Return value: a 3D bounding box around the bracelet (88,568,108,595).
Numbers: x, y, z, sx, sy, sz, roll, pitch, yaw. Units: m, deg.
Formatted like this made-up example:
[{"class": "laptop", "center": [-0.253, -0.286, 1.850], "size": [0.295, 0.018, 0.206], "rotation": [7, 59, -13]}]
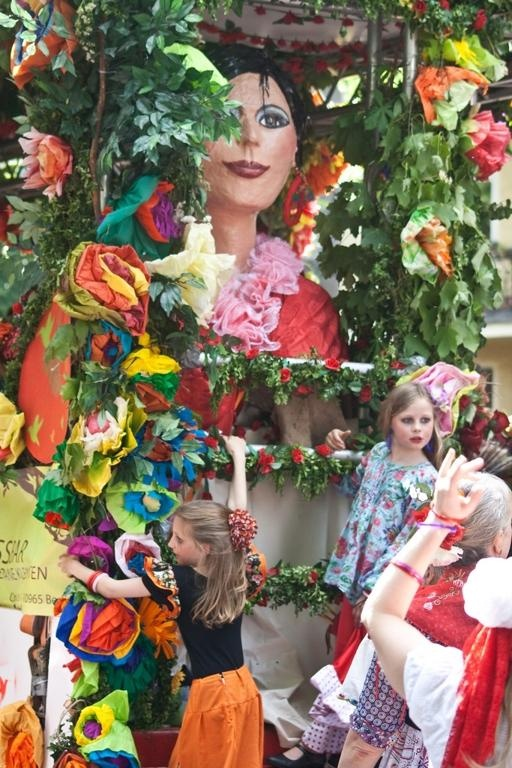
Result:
[{"class": "bracelet", "center": [-0.558, 0.677, 2.823], "size": [0.027, 0.070, 0.069], "rotation": [30, 52, 4]}]
